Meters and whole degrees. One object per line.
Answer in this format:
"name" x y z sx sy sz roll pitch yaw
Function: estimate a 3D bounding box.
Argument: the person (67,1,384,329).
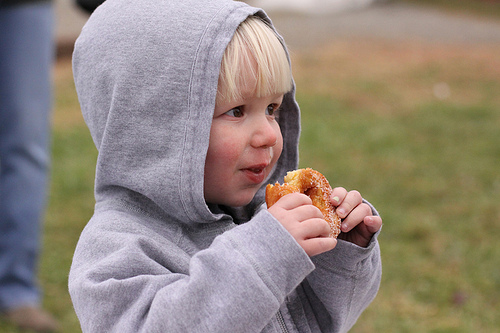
"person" -0.090 0.120 2.507 1.370 1.120 1.229 5 50 5

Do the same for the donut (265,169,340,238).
"donut" 0.178 0.131 2.583 0.337 0.126 0.352 -7 5 40
